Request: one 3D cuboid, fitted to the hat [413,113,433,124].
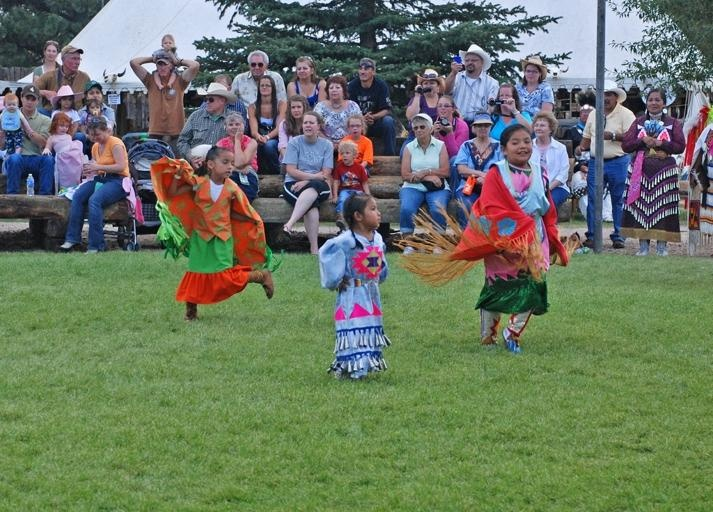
[{"bbox_3d":[0.804,-1.685,19.298,0.156,0.118,0.172,0,8,2],"label":"hat"}]

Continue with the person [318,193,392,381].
[{"bbox_3d":[-0.025,0.291,15.450,0.692,1.784,0.216,0,2,-7],"label":"person"}]

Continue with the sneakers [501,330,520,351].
[{"bbox_3d":[1.576,0.840,16.058,0.181,0.234,0.172,1,2,7],"label":"sneakers"}]

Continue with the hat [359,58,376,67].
[{"bbox_3d":[0.136,-2.518,20.624,0.181,0.132,0.305,1,2,4],"label":"hat"}]

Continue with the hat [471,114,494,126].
[{"bbox_3d":[1.517,-1.631,18.953,0.245,0.108,0.317,0,1,1],"label":"hat"}]

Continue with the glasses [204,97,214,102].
[{"bbox_3d":[-1.823,-1.936,19.571,0.088,0.034,0.089,0,3,8],"label":"glasses"}]

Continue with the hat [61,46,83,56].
[{"bbox_3d":[-3.837,-2.750,21.323,0.259,0.131,0.281,0,3,-16],"label":"hat"}]

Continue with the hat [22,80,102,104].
[{"bbox_3d":[-3.952,-2.217,21.015,0.706,0.339,0.939,0,3,-12],"label":"hat"}]

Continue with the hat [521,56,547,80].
[{"bbox_3d":[2.299,-2.454,20.516,0.284,0.300,0.617,1,2,11],"label":"hat"}]

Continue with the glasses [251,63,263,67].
[{"bbox_3d":[-1.275,-2.438,20.222,0.142,0.044,0.063,0,2,-6],"label":"glasses"}]

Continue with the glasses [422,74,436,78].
[{"bbox_3d":[0.940,-2.285,20.163,0.164,0.053,0.110,0,2,-2],"label":"glasses"}]

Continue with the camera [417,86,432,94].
[{"bbox_3d":[0.847,-2.123,20.252,0.132,0.081,0.222,-1,3,-33],"label":"camera"}]

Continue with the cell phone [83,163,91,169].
[{"bbox_3d":[-3.336,-1.127,19.602,0.084,0.080,0.193,0,2,-7],"label":"cell phone"}]

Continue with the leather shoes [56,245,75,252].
[{"bbox_3d":[-3.629,-0.116,19.874,0.210,0.091,0.508,0,3,-11],"label":"leather shoes"}]

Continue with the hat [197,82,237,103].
[{"bbox_3d":[-1.719,-2.063,19.771,0.317,0.231,0.693,1,3,4],"label":"hat"}]
